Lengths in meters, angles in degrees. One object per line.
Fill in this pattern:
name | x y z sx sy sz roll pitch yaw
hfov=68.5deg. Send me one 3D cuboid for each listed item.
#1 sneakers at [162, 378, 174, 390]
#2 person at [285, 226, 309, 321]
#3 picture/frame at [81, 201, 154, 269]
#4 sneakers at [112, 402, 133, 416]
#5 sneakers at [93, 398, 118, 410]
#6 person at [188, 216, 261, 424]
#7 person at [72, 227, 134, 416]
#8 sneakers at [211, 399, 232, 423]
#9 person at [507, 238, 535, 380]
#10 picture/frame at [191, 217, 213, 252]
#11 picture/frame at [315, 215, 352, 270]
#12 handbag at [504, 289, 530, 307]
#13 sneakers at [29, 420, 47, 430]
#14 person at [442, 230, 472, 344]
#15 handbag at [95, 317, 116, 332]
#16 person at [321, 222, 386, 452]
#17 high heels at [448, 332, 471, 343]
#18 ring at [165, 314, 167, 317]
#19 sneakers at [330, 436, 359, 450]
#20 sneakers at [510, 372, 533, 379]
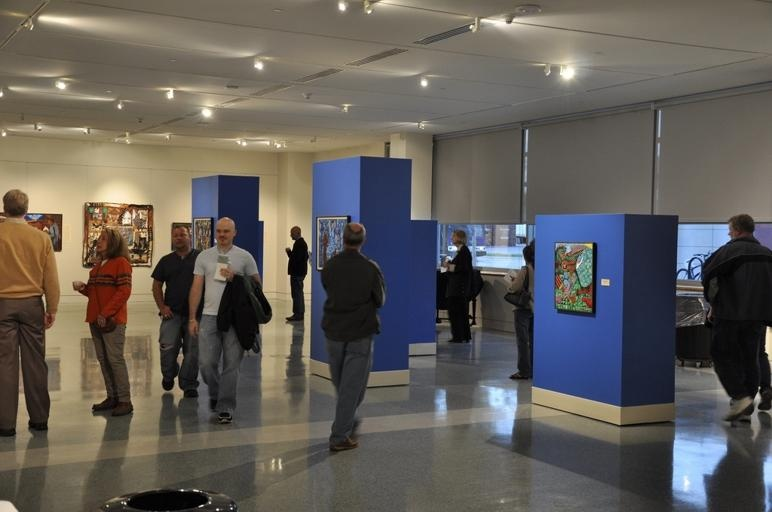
sneakers | -3.079 1.793 7.982 0.177 0.141 0.165 3 -2 3
person | -2.337 0.439 14.912 0.594 2.380 1.302 -2 4 -9
picture/frame | -8.354 -0.674 17.851 1.998 2.001 0.202 1 -2 -13
sneakers | -3.223 1.875 6.914 0.114 0.140 0.304 -6 -15 4
sneakers | -3.504 1.862 7.143 0.325 0.144 0.116 3 3 -26
person | -1.993 0.762 6.843 0.771 2.421 0.547 1 5 25
person | -3.438 0.814 6.988 0.612 2.282 0.684 -3 5 -29
sneakers | -2.003 1.899 6.899 0.164 0.215 0.499 0 7 -14
person | 2.136 0.936 9.072 0.390 2.130 0.805 0 4 13
picture/frame | -3.711 -0.427 11.590 0.773 0.772 0.066 -1 -3 43
picture/frame | -0.715 -0.219 7.774 0.098 0.985 0.817 4 -3 -28
handbag | 2.070 0.681 8.929 0.368 0.269 0.253 0 5 8
sneakers | -3.874 1.895 6.340 0.178 0.079 0.094 -7 -9 43
person | 1.551 0.648 12.199 0.519 2.421 0.679 0 4 8
handbag | -3.330 0.814 6.731 0.200 0.196 0.146 -3 -1 31
person | -0.331 0.850 5.868 0.637 2.338 0.375 -2 4 -9
high heels | 1.590 1.755 12.209 0.502 0.221 0.172 3 0 -2
ring | -2.879 0.790 7.453 0.026 0.025 0.006 -8 22 -21
sneakers | -0.434 1.948 5.948 0.285 0.143 0.122 -4 5 -21
sneakers | 2.188 1.946 9.177 0.329 0.145 0.125 5 -3 4
